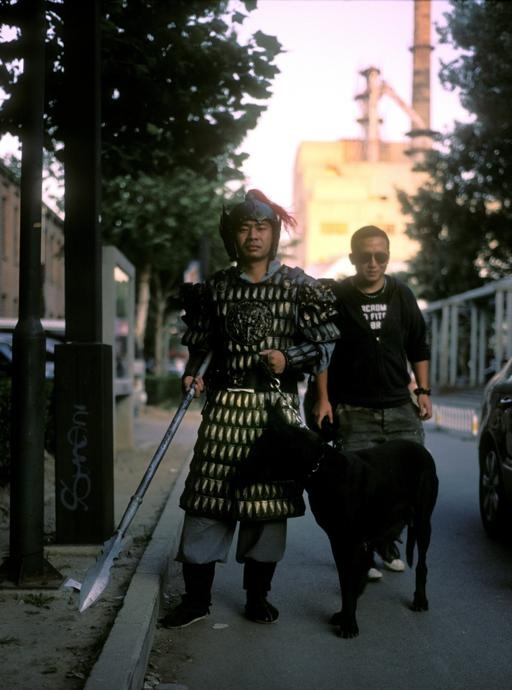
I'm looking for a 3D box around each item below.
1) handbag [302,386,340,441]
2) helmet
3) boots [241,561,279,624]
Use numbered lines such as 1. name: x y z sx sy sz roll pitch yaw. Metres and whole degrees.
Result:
1. handbag: 0.367 0.379 4.295 0.252 0.308 0.121 0 -4 -24
2. helmet: -0.042 -0.573 3.866 0.279 0.321 0.327 1 34 7
3. boots: 0.037 1.199 3.795 0.202 0.275 0.156 -2 -10 42
